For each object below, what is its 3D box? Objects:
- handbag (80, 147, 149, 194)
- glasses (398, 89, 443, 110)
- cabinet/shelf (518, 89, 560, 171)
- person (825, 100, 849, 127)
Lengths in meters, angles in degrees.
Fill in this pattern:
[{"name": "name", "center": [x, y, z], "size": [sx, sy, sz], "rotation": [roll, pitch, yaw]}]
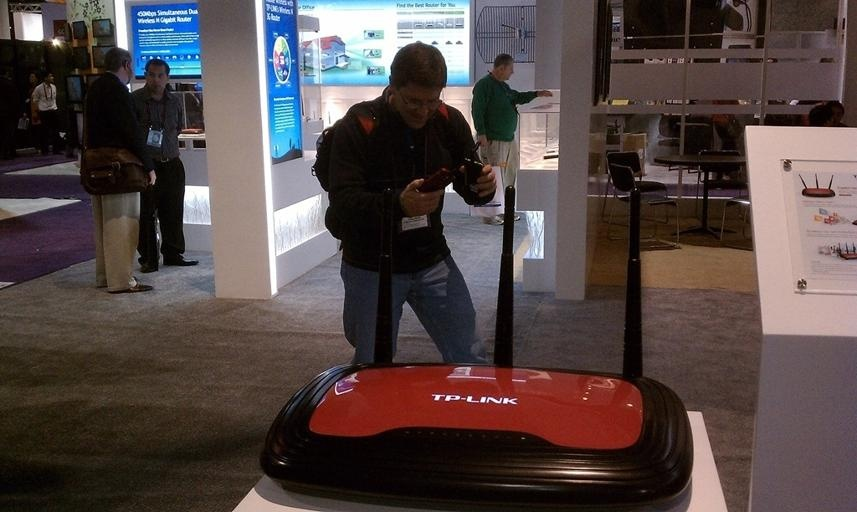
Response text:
[{"name": "handbag", "center": [-2.569, -0.689, 5.123], "size": [0.598, 0.405, 0.367], "rotation": [-5, 18, -20]}, {"name": "glasses", "center": [0.000, -0.580, 2.317], "size": [0.126, 0.071, 0.221], "rotation": [6, 14, 36]}, {"name": "cabinet/shelf", "center": [1.027, -1.146, 5.857], "size": [0.355, 0.581, 0.936], "rotation": [0, 11, 9]}, {"name": "person", "center": [4.465, -1.574, 6.879], "size": [0.151, 0.251, 1.039], "rotation": [5, 13, 32]}]
